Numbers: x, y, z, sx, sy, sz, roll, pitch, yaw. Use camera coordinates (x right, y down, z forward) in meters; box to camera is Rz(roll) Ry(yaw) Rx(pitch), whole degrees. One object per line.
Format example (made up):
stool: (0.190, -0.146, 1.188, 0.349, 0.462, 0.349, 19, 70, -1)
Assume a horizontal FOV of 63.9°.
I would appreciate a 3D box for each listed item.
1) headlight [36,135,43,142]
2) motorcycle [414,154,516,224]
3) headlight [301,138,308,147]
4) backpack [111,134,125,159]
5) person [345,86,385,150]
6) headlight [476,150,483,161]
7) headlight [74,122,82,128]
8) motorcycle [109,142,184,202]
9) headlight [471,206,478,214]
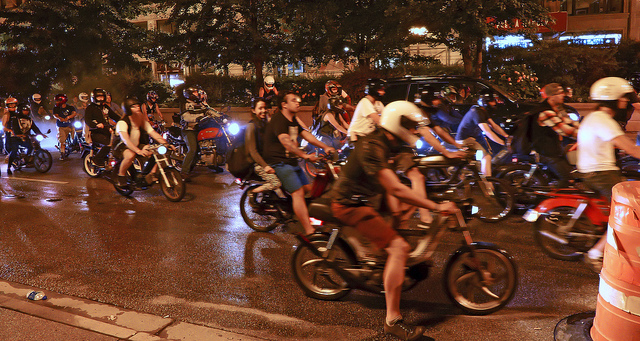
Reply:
headlight: (-10.158, -1.178, 18.557, 0.184, 0.212, 0.348, -5, 9, -15)
motorcycle: (3.553, 0.454, 11.954, 3.111, 1.590, 1.455, 0, 22, 18)
headlight: (-0.499, -0.825, 15.566, 0.214, 0.204, 0.397, -2, 1, -7)
backpack: (-5.875, -0.685, 14.769, 0.559, 0.643, 0.266, 13, -1, 31)
person: (1.371, -1.644, 14.240, 0.959, 1.942, 0.675, 3, 48, 0)
headlight: (4.086, -0.393, 13.159, 0.155, 0.260, 0.037, -1, 10, 14)
headlight: (-10.050, -1.892, 21.201, 0.272, 0.228, 0.063, -2, 4, -36)
motorcycle: (-5.055, -0.029, 14.777, 3.202, 1.550, 1.350, 3, 6, 31)
headlight: (2.888, 0.744, 9.661, 0.166, 0.121, 0.039, 0, -7, -8)
